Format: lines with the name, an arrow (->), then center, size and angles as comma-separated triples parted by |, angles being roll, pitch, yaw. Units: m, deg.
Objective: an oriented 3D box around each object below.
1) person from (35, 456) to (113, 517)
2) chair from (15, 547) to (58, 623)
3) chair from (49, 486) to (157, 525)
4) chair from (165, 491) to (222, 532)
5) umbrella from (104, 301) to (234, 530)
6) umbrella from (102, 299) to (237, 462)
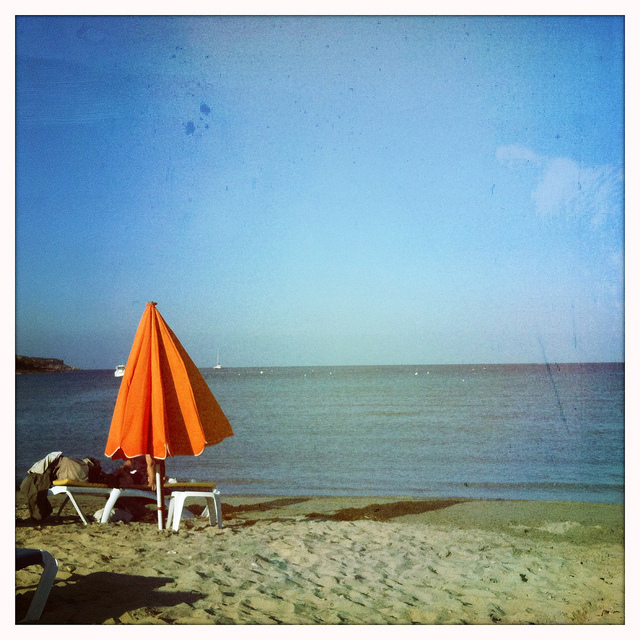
person -> -3.564, 2.374, 11.292 | 1.052, 1.068, 0.656 | -4, 2, -39
chair -> -2.946, 2.745, 7.937 | 0.397, 0.789, 0.478 | 3, -4, -21
chair -> -3.247, 2.780, 11.499 | 1.355, 0.397, 0.757 | 4, -9, -14
chair -> -1.820, 2.669, 10.937 | 0.631, 0.556, 0.927 | -2, -5, 44
umbrella -> -1.984, 0.750, 9.875 | 1.397, 1.958, 0.599 | 3, -4, -17
umbrella -> -1.981, 0.755, 9.872 | 1.399, 1.949, 0.618 | 3, -4, -18
